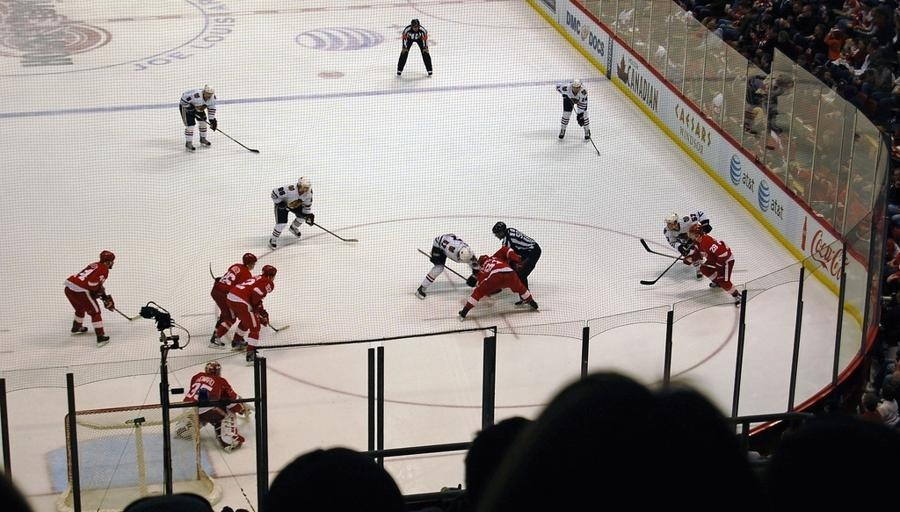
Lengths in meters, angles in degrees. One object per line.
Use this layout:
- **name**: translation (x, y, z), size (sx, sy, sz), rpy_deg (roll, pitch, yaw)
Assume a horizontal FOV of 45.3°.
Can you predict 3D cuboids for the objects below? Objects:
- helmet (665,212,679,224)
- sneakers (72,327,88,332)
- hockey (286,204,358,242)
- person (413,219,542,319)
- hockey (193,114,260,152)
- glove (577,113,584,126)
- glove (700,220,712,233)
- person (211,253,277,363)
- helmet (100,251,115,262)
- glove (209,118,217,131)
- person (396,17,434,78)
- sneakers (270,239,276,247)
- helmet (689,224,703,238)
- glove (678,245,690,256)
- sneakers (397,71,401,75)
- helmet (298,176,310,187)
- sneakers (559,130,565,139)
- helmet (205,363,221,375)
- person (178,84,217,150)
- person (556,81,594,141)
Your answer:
- **helmet**: translation (3.812, -0.659, 18.561), size (0.225, 0.198, 0.235), rpy_deg (-4, -12, 10)
- **sneakers**: translation (-6.074, 1.214, 17.579), size (0.241, 0.082, 0.078), rpy_deg (-10, 21, -18)
- **hockey**: translation (-2.419, -0.588, 19.841), size (1.302, 0.140, 0.127), rpy_deg (27, -22, 9)
- **person**: translation (0.375, 0.270, 18.069), size (1.372, 0.829, 1.902), rpy_deg (-21, 20, -40)
- **hockey**: translation (-4.657, -2.521, 22.101), size (1.451, 0.148, 0.208), rpy_deg (31, 45, 18)
- **glove**: translation (2.653, -2.808, 21.970), size (0.180, 0.192, 0.077), rpy_deg (3, 23, 16)
- **glove**: translation (4.404, -0.536, 18.568), size (0.135, 0.282, 0.434), rpy_deg (-6, -12, 16)
- **person**: translation (-3.311, 0.814, 17.223), size (0.931, 1.360, 0.454), rpy_deg (1, -14, -11)
- **helmet**: translation (-5.614, 0.002, 17.593), size (0.244, 0.152, 0.183), rpy_deg (-13, 20, -33)
- **glove**: translation (-4.882, -2.711, 22.020), size (0.187, 0.195, 0.089), rpy_deg (0, 11, 3)
- **person**: translation (-0.853, -4.860, 24.596), size (0.808, 1.455, 1.236), rpy_deg (-2, -13, -1)
- **sneakers**: translation (-3.202, -0.241, 19.342), size (0.125, 0.138, 0.128), rpy_deg (0, -13, -9)
- **helmet**: translation (4.170, -0.425, 18.352), size (0.218, 0.218, 0.234), rpy_deg (7, -2, 1)
- **glove**: translation (4.000, -0.113, 18.429), size (0.075, 0.185, 0.273), rpy_deg (7, -14, -33)
- **sneakers**: translation (-1.188, -4.198, 24.444), size (0.098, 0.041, 0.141), rpy_deg (0, -7, -4)
- **helmet**: translation (-2.612, -1.343, 19.153), size (0.193, 0.177, 0.171), rpy_deg (2, -13, -15)
- **sneakers**: translation (2.288, -2.545, 22.245), size (0.115, 0.160, 0.060), rpy_deg (7, -35, 10)
- **helmet**: translation (-3.408, 1.612, 15.419), size (0.175, 0.171, 0.188), rpy_deg (4, 24, -3)
- **person**: translation (-5.107, -2.783, 21.716), size (0.696, 1.221, 0.999), rpy_deg (1, -13, -11)
- **person**: translation (2.473, -3.076, 22.097), size (0.870, 1.249, 0.771), rpy_deg (20, 39, 29)
